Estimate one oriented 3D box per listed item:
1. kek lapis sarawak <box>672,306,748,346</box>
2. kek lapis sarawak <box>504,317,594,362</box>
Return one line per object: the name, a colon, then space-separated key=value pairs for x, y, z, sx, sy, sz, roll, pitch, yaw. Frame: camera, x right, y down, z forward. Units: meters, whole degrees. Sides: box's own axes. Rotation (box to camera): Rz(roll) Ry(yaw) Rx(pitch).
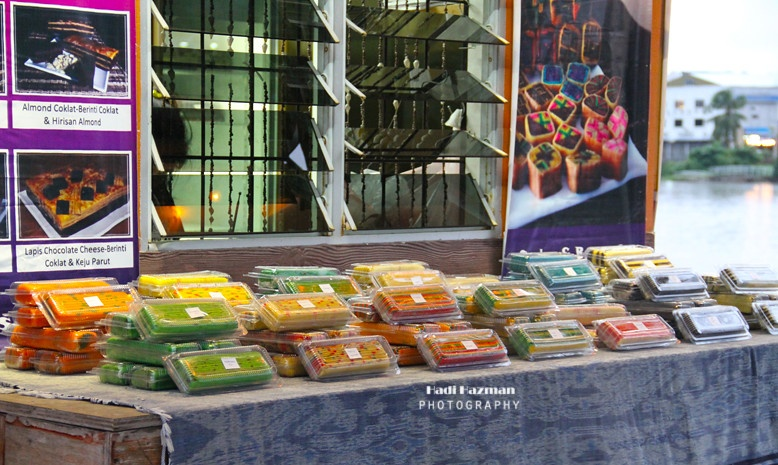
kek lapis sarawak: x=2.224 y=0.622 z=4.879 sx=0.433 sy=0.251 sz=0.125 roll=-4 pitch=-35 yaw=-18
kek lapis sarawak: x=1.019 y=0.670 z=4.456 sx=0.443 sy=0.124 sz=0.259 roll=-2 pitch=28 yaw=-15
